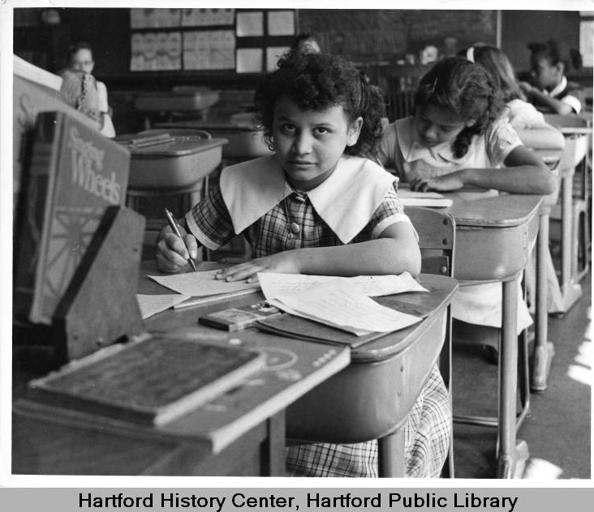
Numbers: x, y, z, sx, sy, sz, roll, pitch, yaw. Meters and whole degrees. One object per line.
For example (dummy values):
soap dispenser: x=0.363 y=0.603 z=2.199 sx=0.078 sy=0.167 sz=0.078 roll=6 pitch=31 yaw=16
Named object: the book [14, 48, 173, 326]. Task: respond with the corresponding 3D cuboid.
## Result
book: x=-0.238 y=-0.061 z=0.654 sx=0.045 sy=0.243 sz=0.146 roll=7 pitch=14 yaw=37
